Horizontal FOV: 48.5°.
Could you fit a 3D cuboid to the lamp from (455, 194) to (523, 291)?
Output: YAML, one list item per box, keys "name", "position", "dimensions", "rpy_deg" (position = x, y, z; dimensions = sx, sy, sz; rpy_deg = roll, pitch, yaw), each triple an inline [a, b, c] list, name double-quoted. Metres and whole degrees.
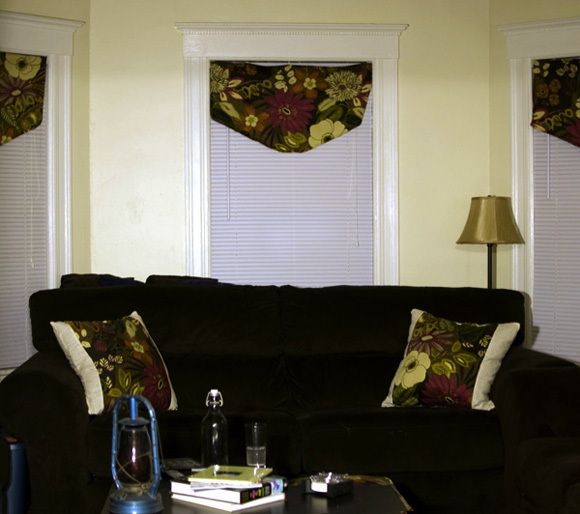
- name: "lamp"
  position: [1.226, -0.011, 3.899]
  dimensions: [0.372, 0.717, 0.386]
  rpy_deg: [1, 1, 32]

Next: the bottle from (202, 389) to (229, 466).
- name: "bottle"
  position: [-0.258, 0.571, 2.191]
  dimensions: [0.083, 0.249, 0.191]
  rpy_deg: [0, 5, -8]

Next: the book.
- name: "book"
  position: [-0.187, 0.714, 1.998]
  dimensions: [0.366, 0.080, 0.183]
  rpy_deg: [0, 5, -11]

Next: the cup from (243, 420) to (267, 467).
- name: "cup"
  position: [-0.115, 0.627, 2.173]
  dimensions: [0.068, 0.170, 0.130]
  rpy_deg: [1, 5, -4]
